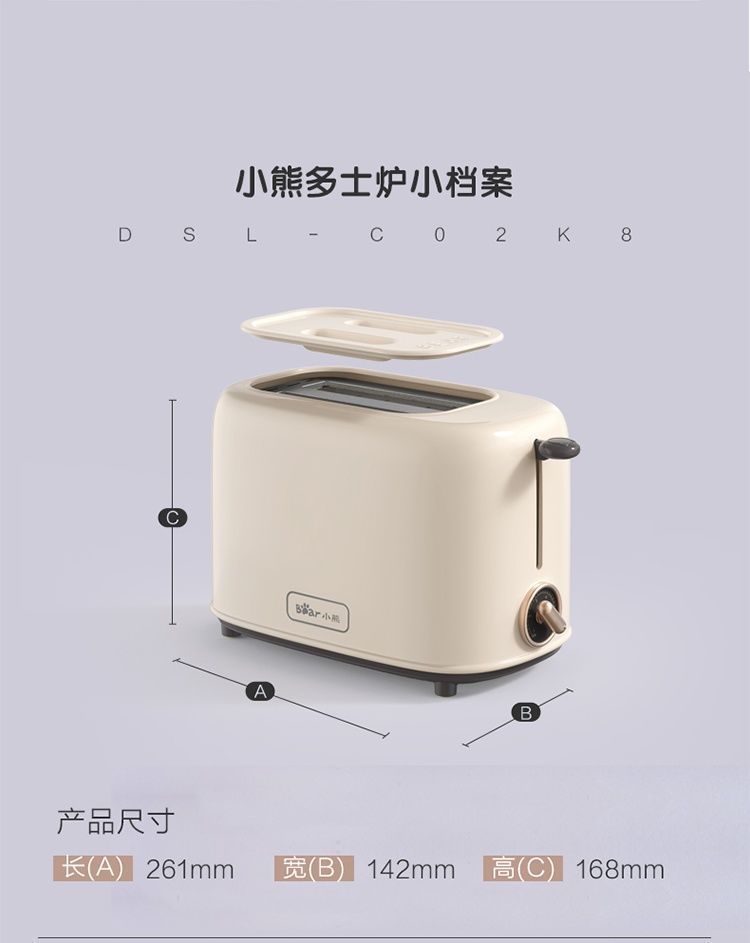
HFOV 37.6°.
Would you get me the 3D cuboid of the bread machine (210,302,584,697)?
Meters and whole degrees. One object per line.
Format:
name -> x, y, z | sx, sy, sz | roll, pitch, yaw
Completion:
bread machine -> 0.062, 0.087, 2.162 | 0.402, 0.740, 0.557 | -2, 94, -44
